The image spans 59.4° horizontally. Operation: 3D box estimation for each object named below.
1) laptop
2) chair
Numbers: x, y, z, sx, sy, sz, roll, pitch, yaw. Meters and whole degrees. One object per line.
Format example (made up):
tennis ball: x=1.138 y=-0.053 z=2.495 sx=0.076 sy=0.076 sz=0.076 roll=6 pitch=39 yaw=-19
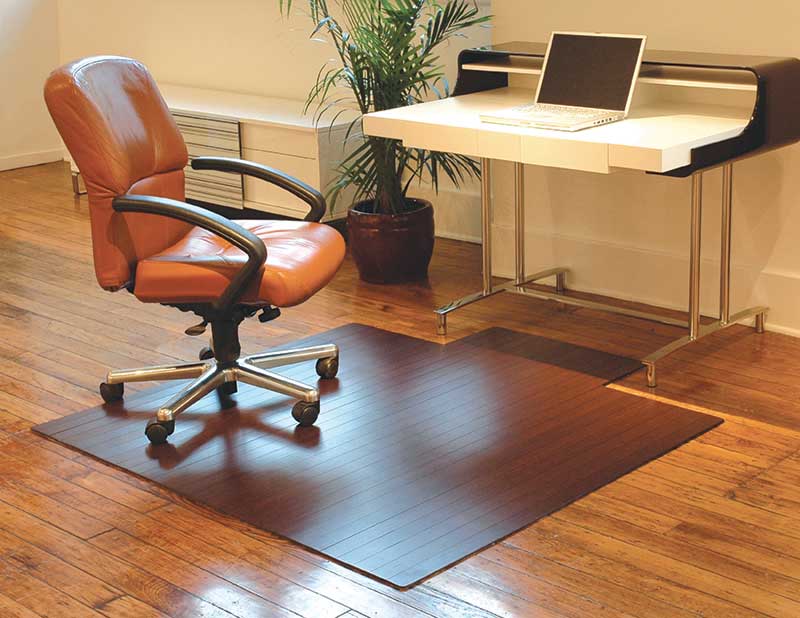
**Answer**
laptop: x=0.695 y=-0.910 z=2.817 sx=0.668 sy=0.322 sz=0.652 roll=-23 pitch=31 yaw=-39
chair: x=-0.749 y=-0.297 z=2.625 sx=1.021 sy=1.016 sz=0.802 roll=15 pitch=28 yaw=0
